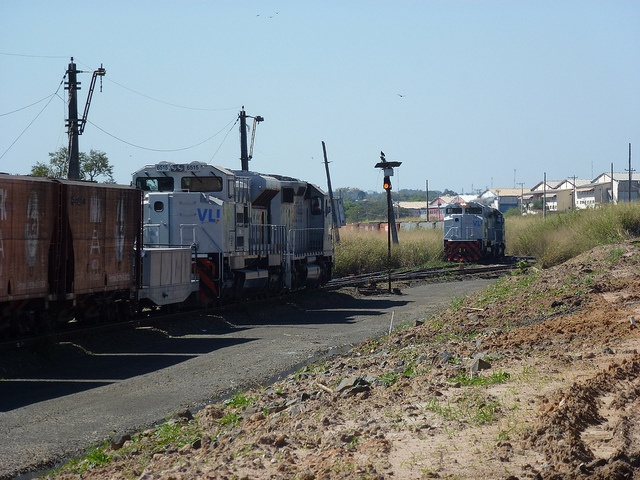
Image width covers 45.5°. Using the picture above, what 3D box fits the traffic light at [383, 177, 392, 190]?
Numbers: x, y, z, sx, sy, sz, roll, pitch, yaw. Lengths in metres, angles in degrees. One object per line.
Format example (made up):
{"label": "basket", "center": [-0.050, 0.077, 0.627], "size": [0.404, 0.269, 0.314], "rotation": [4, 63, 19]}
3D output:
{"label": "traffic light", "center": [2.300, -1.883, 25.925], "size": [0.183, 0.503, 0.651], "rotation": [-6, 7, 0]}
